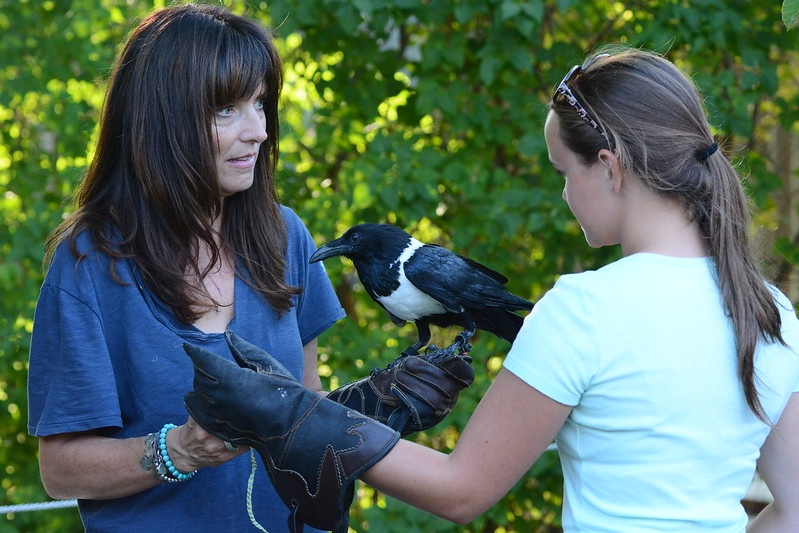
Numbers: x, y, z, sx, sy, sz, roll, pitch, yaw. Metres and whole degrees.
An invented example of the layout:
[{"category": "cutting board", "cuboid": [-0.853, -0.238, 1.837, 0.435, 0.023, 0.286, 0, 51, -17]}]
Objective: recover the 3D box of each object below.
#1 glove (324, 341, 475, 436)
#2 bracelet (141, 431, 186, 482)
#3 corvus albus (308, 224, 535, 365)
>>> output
[{"category": "glove", "cuboid": [0.022, 0.519, 4.364, 0.472, 0.234, 0.358, 5, -10, 9]}, {"category": "bracelet", "cuboid": [-0.973, 0.752, 4.300, 0.097, 0.165, 0.203, -22, 25, -8]}, {"category": "corvus albus", "cuboid": [0.222, 0.125, 5.074, 1.368, 0.659, 0.468, -1, -5, -36]}]
